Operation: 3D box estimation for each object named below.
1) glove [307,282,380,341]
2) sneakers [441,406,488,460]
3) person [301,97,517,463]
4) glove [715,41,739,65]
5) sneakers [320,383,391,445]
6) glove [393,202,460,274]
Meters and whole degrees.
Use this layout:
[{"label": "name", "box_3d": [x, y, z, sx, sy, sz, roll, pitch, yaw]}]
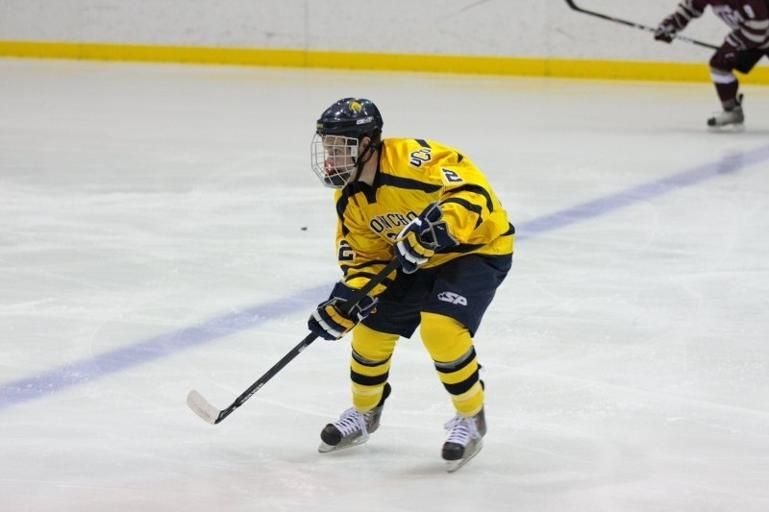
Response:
[{"label": "glove", "box_3d": [-0.179, 0.219, 3.537, 0.218, 0.261, 0.122, 41, 5, 4]}, {"label": "sneakers", "box_3d": [0.303, 0.677, 3.466, 0.111, 0.091, 0.246, -7, 22, 28]}, {"label": "person", "box_3d": [0.058, 0.090, 3.503, 0.866, 1.241, 0.370, 9, 3, 6]}, {"label": "glove", "box_3d": [3.113, -1.836, 8.260, 0.140, 0.247, 0.157, 28, -3, -20]}, {"label": "sneakers", "box_3d": [-0.167, 0.629, 3.632, 0.316, 0.241, 0.100, -3, 40, -49]}, {"label": "glove", "box_3d": [0.155, -0.055, 3.398, 0.309, 0.103, 0.222, -30, -2, -21]}]
